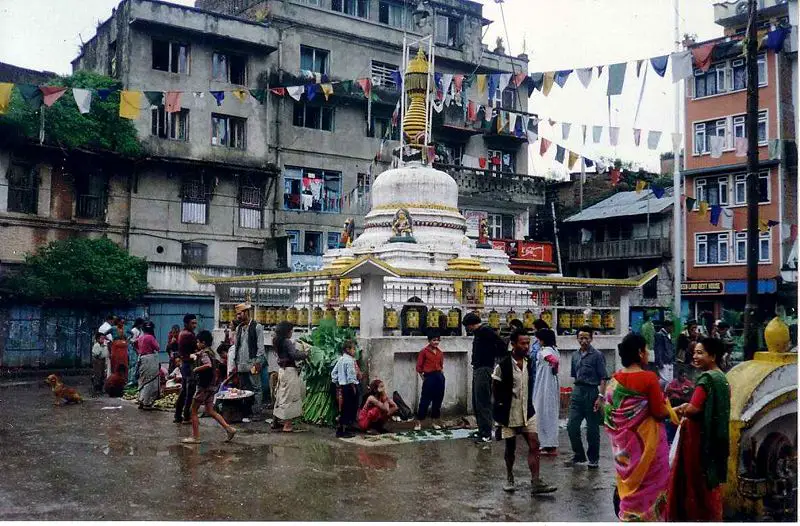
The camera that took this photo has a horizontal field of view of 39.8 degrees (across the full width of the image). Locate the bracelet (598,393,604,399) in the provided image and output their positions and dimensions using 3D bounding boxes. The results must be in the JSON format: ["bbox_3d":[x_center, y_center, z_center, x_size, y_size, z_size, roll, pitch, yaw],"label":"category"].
[{"bbox_3d":[4.775,3.138,26.226,0.138,0.098,0.140,-11,-35,-20],"label":"bracelet"}]

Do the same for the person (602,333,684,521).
[{"bbox_3d":[5.135,3.527,23.730,1.369,3.978,0.380,0,-6,11],"label":"person"}]

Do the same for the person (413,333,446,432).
[{"bbox_3d":[0.818,3.076,28.793,0.733,2.488,0.615,2,-6,-12],"label":"person"}]

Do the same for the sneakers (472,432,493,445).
[{"bbox_3d":[2.055,4.454,27.978,0.215,0.269,0.588,5,-12,-26],"label":"sneakers"}]

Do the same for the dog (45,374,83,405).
[{"bbox_3d":[-9.461,3.573,31.366,0.972,0.763,0.618,-1,-6,17],"label":"dog"}]

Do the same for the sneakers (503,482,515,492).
[{"bbox_3d":[2.492,5.078,25.036,0.242,0.402,0.217,-1,7,0],"label":"sneakers"}]

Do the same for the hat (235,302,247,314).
[{"bbox_3d":[-4.130,1.199,29.443,0.330,0.277,0.559,2,-6,-7],"label":"hat"}]

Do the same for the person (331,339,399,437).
[{"bbox_3d":[-0.972,3.235,28.508,1.515,2.456,0.766,5,-7,-30],"label":"person"}]

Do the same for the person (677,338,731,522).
[{"bbox_3d":[6.434,3.533,23.577,1.188,3.880,0.492,0,-6,14],"label":"person"}]
